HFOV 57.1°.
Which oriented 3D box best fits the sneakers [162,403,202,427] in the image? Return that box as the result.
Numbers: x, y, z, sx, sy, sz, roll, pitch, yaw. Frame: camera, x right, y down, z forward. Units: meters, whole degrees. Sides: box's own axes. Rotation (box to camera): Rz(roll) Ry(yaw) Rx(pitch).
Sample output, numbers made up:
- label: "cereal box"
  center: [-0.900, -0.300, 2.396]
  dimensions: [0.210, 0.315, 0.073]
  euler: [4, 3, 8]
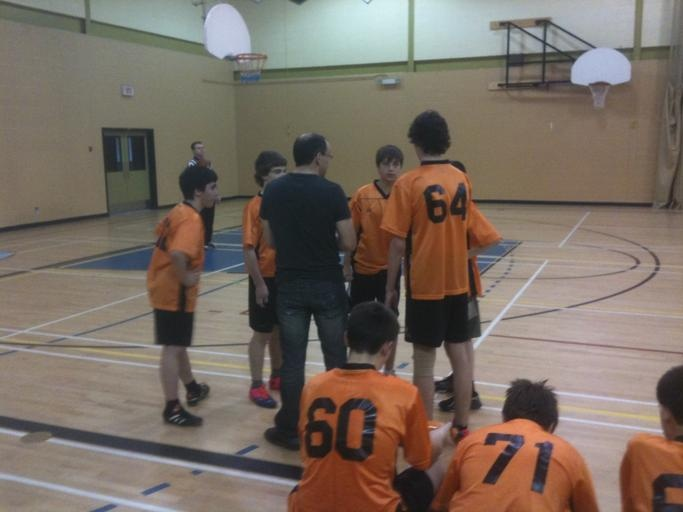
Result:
- label: "sneakers"
  center: [-1.089, 1.074, 4.316]
  dimensions: [0.300, 0.227, 0.119]
  euler: [2, 1, -3]

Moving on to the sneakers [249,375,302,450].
- label: "sneakers"
  center: [-0.454, 1.064, 4.256]
  dimensions: [0.207, 0.281, 0.617]
  euler: [-4, 7, -33]

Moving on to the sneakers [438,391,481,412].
- label: "sneakers"
  center: [0.797, 1.035, 4.388]
  dimensions: [0.357, 0.157, 0.137]
  euler: [-1, 3, -1]

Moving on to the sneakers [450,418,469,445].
- label: "sneakers"
  center: [0.723, 1.067, 3.866]
  dimensions: [0.125, 0.157, 0.370]
  euler: [-4, -12, 12]
